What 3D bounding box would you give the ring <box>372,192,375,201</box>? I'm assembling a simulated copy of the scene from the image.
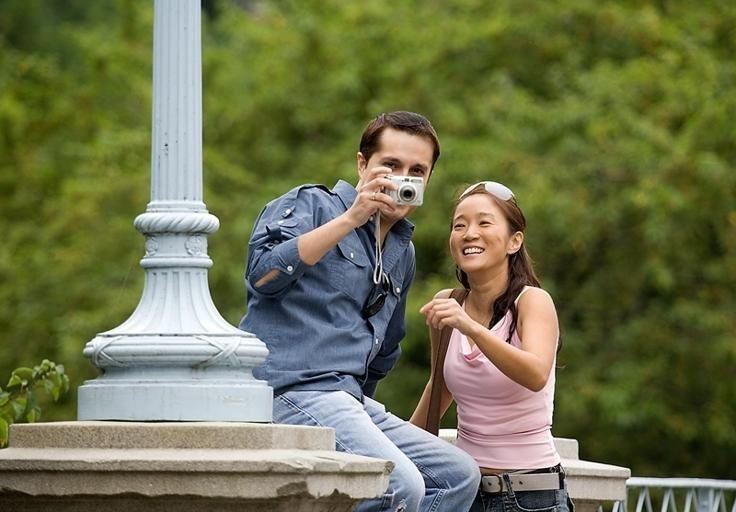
[{"bbox_3d":[0.046,-0.544,16.889,0.041,0.075,0.026,2,-11,-17],"label":"ring"}]
